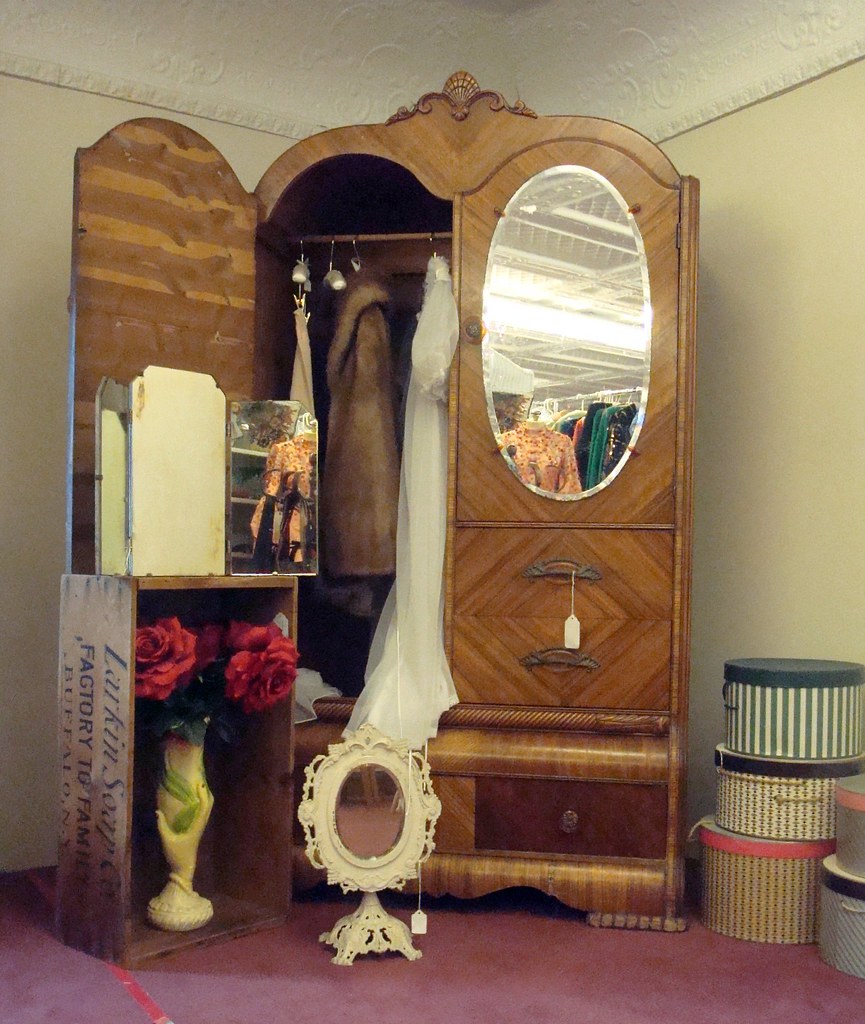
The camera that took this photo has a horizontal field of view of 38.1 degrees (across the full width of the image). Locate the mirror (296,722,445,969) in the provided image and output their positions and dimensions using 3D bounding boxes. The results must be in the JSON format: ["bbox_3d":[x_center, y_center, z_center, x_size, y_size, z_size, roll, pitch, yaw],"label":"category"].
[{"bbox_3d":[-0.144,0.708,2.774,0.302,0.494,0.265,1,5,-5],"label":"mirror"}]

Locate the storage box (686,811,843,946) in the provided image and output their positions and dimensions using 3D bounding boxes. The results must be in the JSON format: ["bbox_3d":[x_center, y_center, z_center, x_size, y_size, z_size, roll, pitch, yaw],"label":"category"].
[{"bbox_3d":[0.768,0.868,2.948,0.248,0.182,0.257,1,-4,-1],"label":"storage box"}]

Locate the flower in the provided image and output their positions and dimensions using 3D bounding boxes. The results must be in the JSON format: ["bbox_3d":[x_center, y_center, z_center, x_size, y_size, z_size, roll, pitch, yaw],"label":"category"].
[{"bbox_3d":[-0.492,0.336,2.801,0.349,0.316,0.234,15,-24,-19],"label":"flower"}]

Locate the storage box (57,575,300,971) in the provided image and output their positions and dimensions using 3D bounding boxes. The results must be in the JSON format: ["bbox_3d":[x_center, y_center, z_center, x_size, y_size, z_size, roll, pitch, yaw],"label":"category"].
[{"bbox_3d":[-0.594,0.527,2.883,0.527,0.809,0.388,-3,7,-44],"label":"storage box"}]

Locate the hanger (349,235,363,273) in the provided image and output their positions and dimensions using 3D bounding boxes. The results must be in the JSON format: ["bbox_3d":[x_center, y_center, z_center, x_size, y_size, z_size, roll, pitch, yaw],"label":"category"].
[{"bbox_3d":[-0.211,-0.697,3.436,0.026,0.076,0.077,1,-1,-4],"label":"hanger"}]

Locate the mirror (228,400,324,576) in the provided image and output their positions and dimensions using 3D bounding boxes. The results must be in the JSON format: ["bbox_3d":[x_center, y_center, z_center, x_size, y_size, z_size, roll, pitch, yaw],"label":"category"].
[{"bbox_3d":[-0.382,-0.059,2.981,0.212,0.407,0.076,0,5,-10],"label":"mirror"}]
